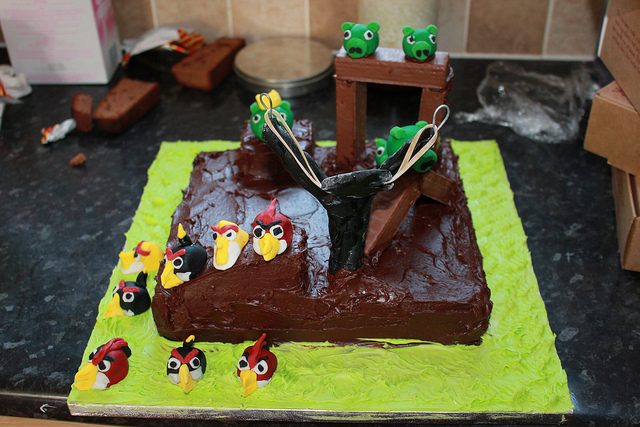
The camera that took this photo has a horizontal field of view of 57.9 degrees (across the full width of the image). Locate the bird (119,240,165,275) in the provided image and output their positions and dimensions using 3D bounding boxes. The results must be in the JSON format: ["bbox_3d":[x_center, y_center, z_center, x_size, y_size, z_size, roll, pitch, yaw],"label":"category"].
[{"bbox_3d":[-0.697,0.171,2.235,0.158,0.116,0.103,-5,21,-24],"label":"bird"}]

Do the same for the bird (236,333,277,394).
[{"bbox_3d":[-0.221,0.517,1.996,0.135,0.135,0.209,13,25,13],"label":"bird"}]

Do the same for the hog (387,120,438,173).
[{"bbox_3d":[0.358,-0.262,2.241,0.191,0.188,0.158,15,41,20],"label":"hog"}]

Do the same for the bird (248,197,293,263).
[{"bbox_3d":[-0.177,0.059,2.039,0.144,0.197,0.142,9,23,30],"label":"bird"}]

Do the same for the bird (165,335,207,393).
[{"bbox_3d":[-0.461,0.515,1.997,0.134,0.079,0.188,-1,43,-6],"label":"bird"}]

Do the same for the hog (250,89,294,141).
[{"bbox_3d":[-0.198,-0.382,2.336,0.177,0.220,0.164,-3,12,6],"label":"hog"}]

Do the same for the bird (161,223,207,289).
[{"bbox_3d":[-0.468,0.158,2.105,0.189,0.207,0.177,-9,47,-17],"label":"bird"}]

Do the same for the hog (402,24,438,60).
[{"bbox_3d":[0.384,-0.665,2.233,0.135,0.113,0.138,18,39,31],"label":"hog"}]
